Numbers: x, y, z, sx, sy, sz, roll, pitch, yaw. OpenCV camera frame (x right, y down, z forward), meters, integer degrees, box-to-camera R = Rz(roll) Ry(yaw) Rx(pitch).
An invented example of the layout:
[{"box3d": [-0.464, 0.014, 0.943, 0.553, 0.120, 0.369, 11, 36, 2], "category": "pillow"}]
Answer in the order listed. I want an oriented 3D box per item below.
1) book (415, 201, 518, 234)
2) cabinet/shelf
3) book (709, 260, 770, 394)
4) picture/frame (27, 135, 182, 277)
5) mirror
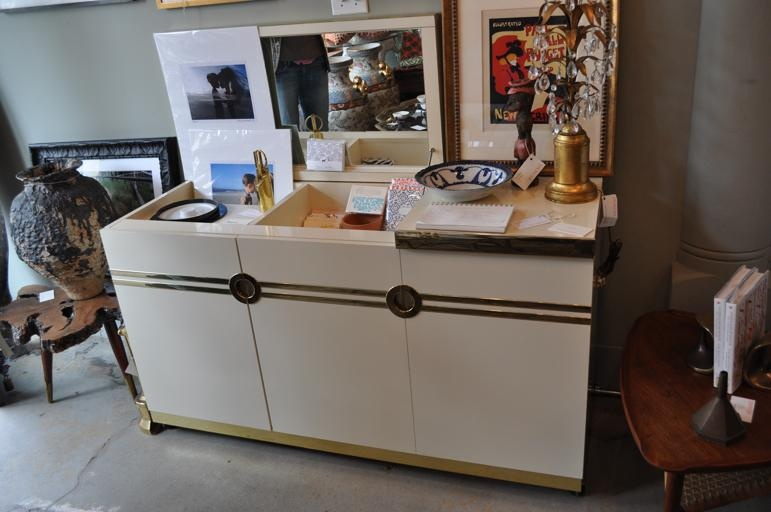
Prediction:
[{"box3d": [0.303, -0.149, 2.041, 0.344, 0.059, 0.229, 0, 21, 16], "category": "book"}, {"box3d": [-0.100, 0.355, 2.240, 1.328, 0.698, 0.430, 4, 25, 13], "category": "cabinet/shelf"}, {"box3d": [1.272, 0.273, 1.959, 0.145, 0.417, 0.449, 12, 27, 40], "category": "book"}, {"box3d": [-1.399, -0.247, 2.706, 0.803, 0.582, 0.056, 2, 24, 11], "category": "picture/frame"}, {"box3d": [-0.124, -0.762, 2.430, 0.785, 0.567, 0.039, 2, 23, 11], "category": "mirror"}]
